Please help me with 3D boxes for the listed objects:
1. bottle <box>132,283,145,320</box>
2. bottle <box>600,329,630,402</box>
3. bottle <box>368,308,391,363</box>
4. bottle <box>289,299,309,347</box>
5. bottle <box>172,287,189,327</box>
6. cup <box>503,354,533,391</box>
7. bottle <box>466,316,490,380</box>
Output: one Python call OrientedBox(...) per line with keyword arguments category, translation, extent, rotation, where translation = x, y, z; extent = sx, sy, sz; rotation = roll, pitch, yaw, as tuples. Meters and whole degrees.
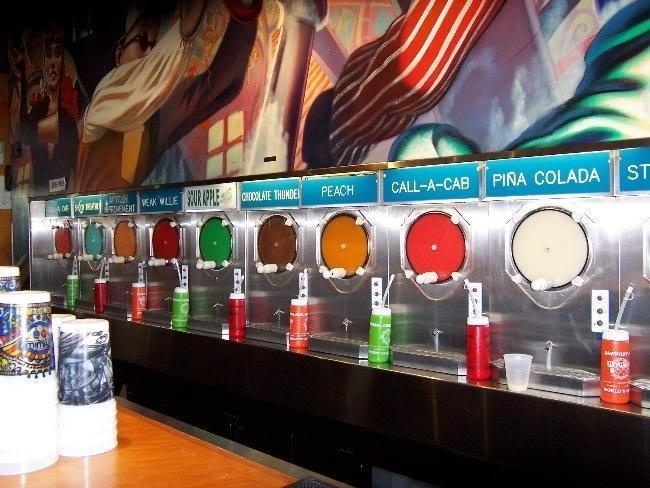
OrientedBox(category="bottle", translation=(-1.640, 0.513, 4.064), extent=(0.121, 0.315, 0.198), rotation=(1, -2, -23))
OrientedBox(category="bottle", translation=(1.223, 0.518, 1.942), extent=(0.108, 0.293, 0.077), rotation=(-1, -2, 33))
OrientedBox(category="bottle", translation=(0.306, 0.519, 2.603), extent=(0.123, 0.301, 0.094), rotation=(0, -2, 4))
OrientedBox(category="bottle", translation=(-0.165, 0.510, 2.903), extent=(0.118, 0.308, 0.161), rotation=(1, -2, -5))
OrientedBox(category="bottle", translation=(-1.145, 0.510, 3.661), extent=(0.144, 0.314, 0.305), rotation=(1, -2, -18))
OrientedBox(category="cup", translation=(0.887, 0.602, 2.133), extent=(0.127, 0.157, 0.138), rotation=(3, -14, 1))
OrientedBox(category="bottle", translation=(0.773, 0.522, 2.327), extent=(0.115, 0.302, 0.202), rotation=(0, -2, 18))
